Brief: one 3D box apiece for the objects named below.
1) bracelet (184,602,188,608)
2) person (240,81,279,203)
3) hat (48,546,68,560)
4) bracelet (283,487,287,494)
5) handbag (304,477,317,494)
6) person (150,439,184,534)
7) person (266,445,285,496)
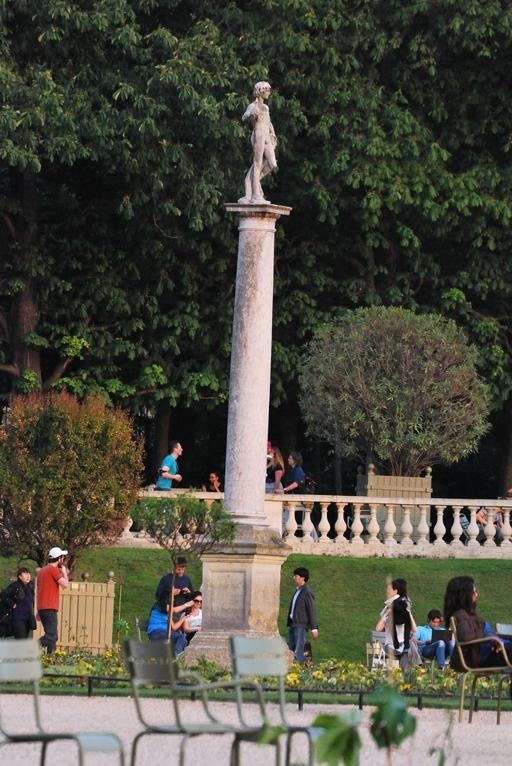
[{"bbox_3d":[-0.867,2.773,28.031,0.029,0.048,0.126,-2,-12,-6],"label":"bracelet"},{"bbox_3d":[0.025,-3.119,29.248,0.425,1.186,1.299,2,-1,0],"label":"person"},{"bbox_3d":[-2.516,2.253,28.903,0.229,0.143,0.154,-12,20,-36],"label":"hat"},{"bbox_3d":[0.448,1.749,36.365,0.095,0.129,0.033,-1,-6,-14],"label":"bracelet"},{"bbox_3d":[0.953,1.907,41.122,0.233,0.324,0.259,2,2,8],"label":"handbag"},{"bbox_3d":[-1.314,1.499,32.671,0.346,1.346,0.554,-3,25,-8],"label":"person"},{"bbox_3d":[0.282,1.452,36.095,0.299,0.410,0.906,11,-39,8],"label":"person"}]
